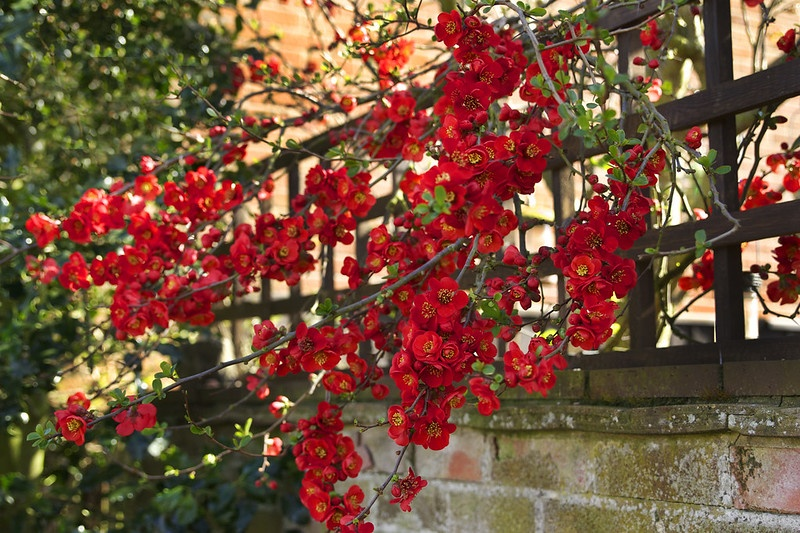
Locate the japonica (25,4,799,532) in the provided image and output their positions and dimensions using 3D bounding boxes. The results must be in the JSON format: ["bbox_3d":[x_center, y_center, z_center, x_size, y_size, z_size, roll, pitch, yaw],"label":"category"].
[{"bbox_3d":[0.090,0.092,4.414,2.638,2.240,1.537,-4,12,17],"label":"japonica"}]
